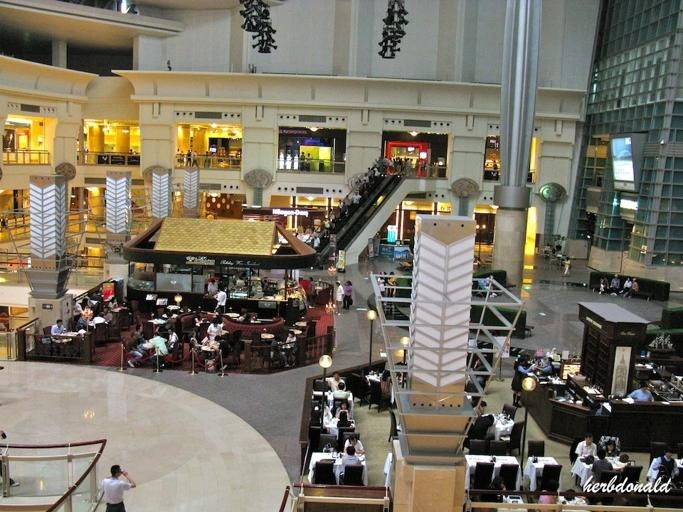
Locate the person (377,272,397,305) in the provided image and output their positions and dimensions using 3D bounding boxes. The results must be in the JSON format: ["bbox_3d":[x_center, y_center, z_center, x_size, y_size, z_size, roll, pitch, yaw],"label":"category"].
[{"bbox_3d":[1.268,0.929,19.218,0.642,0.353,1.517,3,33,1],"label":"person"}]

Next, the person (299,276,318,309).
[{"bbox_3d":[-1.253,1.461,27.082,0.795,1.105,0.864,0,5,-2],"label":"person"}]

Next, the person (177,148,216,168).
[{"bbox_3d":[-8.035,-5.291,38.951,2.275,0.822,0.977,1,7,-10],"label":"person"}]

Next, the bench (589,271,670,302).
[{"bbox_3d":[12.291,1.320,29.990,3.136,0.898,0.887,6,8,35],"label":"bench"}]

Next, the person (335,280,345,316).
[{"bbox_3d":[-0.057,1.542,25.767,0.296,1.085,0.682,2,6,-1],"label":"person"}]

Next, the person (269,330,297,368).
[{"bbox_3d":[-1.677,2.827,20.216,0.759,1.082,1.449,0,-1,-2],"label":"person"}]

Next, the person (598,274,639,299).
[{"bbox_3d":[11.908,1.305,30.025,1.574,0.873,0.773,0,-19,34],"label":"person"}]
